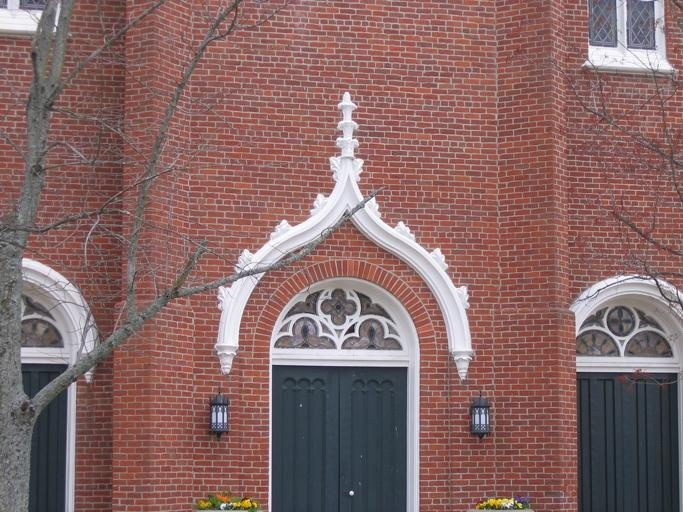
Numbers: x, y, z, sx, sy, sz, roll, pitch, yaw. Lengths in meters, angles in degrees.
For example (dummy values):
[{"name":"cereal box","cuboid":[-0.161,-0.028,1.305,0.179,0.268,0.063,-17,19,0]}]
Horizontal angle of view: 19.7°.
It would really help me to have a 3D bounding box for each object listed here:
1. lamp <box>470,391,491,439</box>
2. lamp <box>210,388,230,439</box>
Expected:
[{"name":"lamp","cuboid":[2.312,2.736,32.857,0.309,0.731,0.313,-1,-2,15]},{"name":"lamp","cuboid":[-1.999,2.615,32.261,0.302,0.858,0.313,0,-6,-3]}]
